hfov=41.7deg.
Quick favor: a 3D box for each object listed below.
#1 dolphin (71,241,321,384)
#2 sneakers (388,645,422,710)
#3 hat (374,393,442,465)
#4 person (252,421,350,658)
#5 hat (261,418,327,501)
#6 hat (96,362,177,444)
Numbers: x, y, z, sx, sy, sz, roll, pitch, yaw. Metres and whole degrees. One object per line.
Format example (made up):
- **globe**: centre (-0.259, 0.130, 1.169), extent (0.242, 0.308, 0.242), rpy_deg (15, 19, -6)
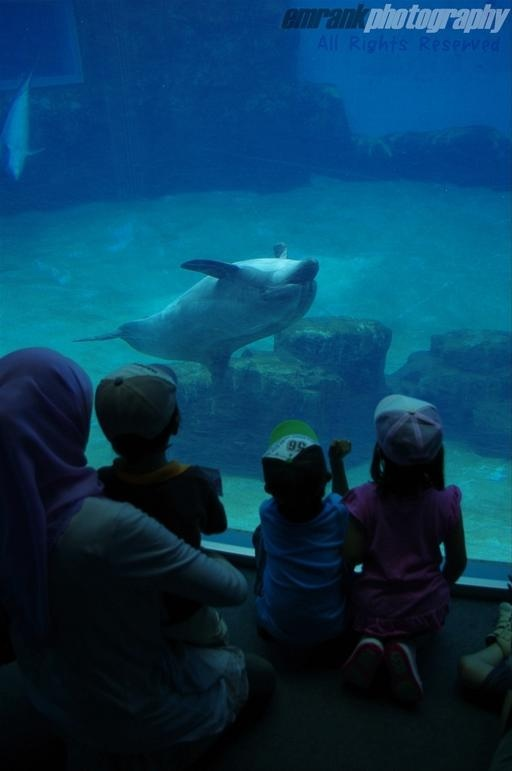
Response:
- **dolphin**: centre (-0.715, -2.141, 14.884), extent (3.213, 1.922, 4.682), rpy_deg (-2, -5, -43)
- **sneakers**: centre (0.477, 0.903, 2.169), extent (0.114, 0.209, 0.148), rpy_deg (3, 10, 15)
- **hat**: centre (0.507, 0.150, 2.247), extent (0.222, 0.212, 0.242), rpy_deg (2, 10, 11)
- **person**: centre (0.169, 0.586, 2.353), extent (0.283, 0.865, 0.602), rpy_deg (3, 21, 7)
- **hat**: centre (0.123, 0.273, 2.216), extent (0.191, 0.143, 0.290), rpy_deg (-16, 36, 14)
- **hat**: centre (-0.294, 0.020, 1.741), extent (0.190, 0.191, 0.210), rpy_deg (-4, 23, -12)
